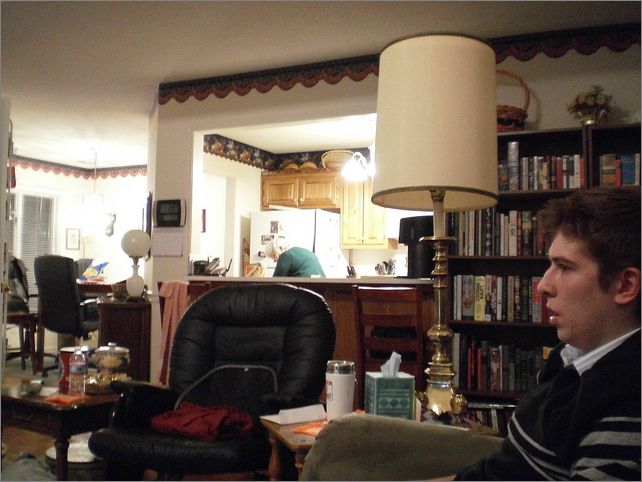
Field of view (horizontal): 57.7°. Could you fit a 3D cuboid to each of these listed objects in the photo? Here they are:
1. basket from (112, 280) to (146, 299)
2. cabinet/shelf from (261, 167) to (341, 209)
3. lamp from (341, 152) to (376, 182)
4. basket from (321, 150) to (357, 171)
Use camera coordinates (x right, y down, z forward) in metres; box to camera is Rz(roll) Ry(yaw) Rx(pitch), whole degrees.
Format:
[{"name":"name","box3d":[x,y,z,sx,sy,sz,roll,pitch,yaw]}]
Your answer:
[{"name":"basket","box3d":[-1.848,0.435,5.458,0.212,0.112,0.217,-1,-17,5]},{"name":"cabinet/shelf","box3d":[-0.268,-0.675,7.526,1.142,0.536,0.183,-1,-3,18]},{"name":"lamp","box3d":[0.338,-0.732,5.381,0.264,0.328,0.818,0,-3,4]},{"name":"basket","box3d":[0.207,-0.915,6.541,0.380,0.153,0.382,1,-3,-21]}]
